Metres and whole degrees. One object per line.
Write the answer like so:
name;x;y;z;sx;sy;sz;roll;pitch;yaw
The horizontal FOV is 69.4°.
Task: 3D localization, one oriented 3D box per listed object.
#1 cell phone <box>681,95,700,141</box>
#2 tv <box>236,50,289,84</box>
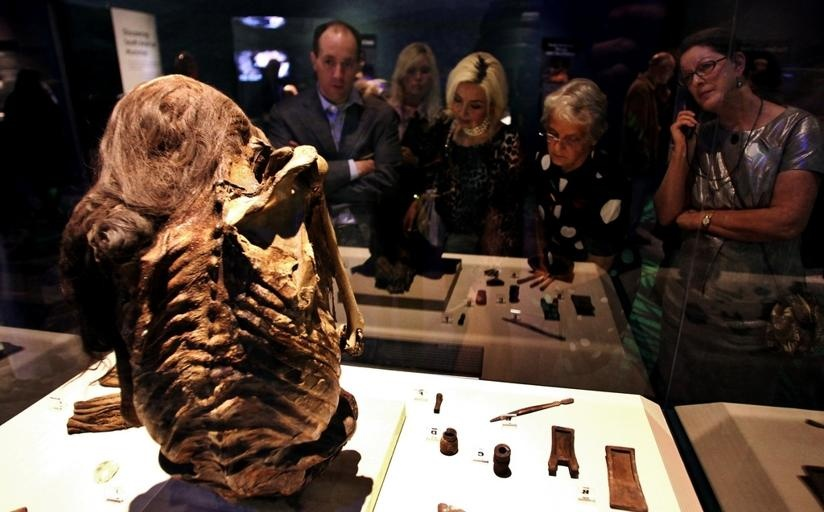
cell phone;1.547;-0.781;3.305;0.078;0.270;0.062;-9;20;-9
tv;-0.864;-1.098;3.454;0.306;0.183;0.080;-3;21;-13
